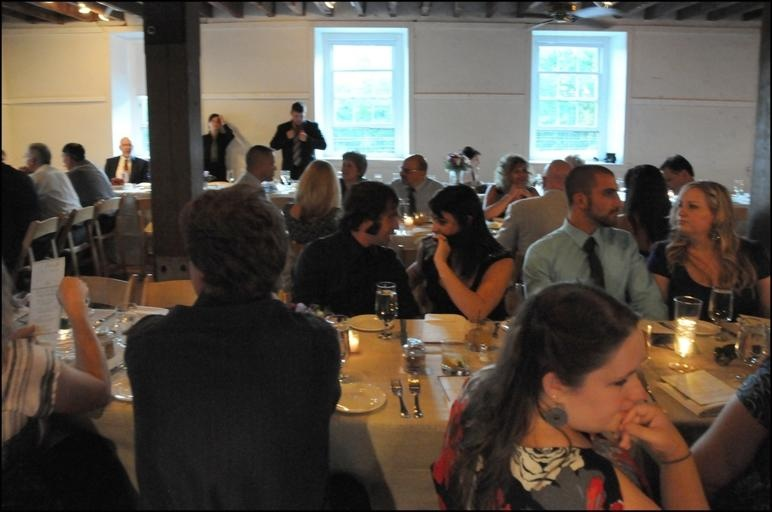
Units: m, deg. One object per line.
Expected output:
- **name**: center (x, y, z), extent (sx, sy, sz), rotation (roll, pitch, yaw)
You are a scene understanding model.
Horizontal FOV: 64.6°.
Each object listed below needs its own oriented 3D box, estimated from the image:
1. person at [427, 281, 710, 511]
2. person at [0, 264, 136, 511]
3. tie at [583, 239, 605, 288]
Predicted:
- **person**: center (0.496, 0.442, 1.746), extent (0.780, 0.682, 0.347), rotation (2, 11, 22)
- **person**: center (-1.058, 0.416, 2.092), extent (0.373, 0.844, 0.525), rotation (-4, 10, -10)
- **tie**: center (1.100, 0.033, 3.212), extent (0.069, 0.260, 0.103), rotation (-9, 12, -34)
